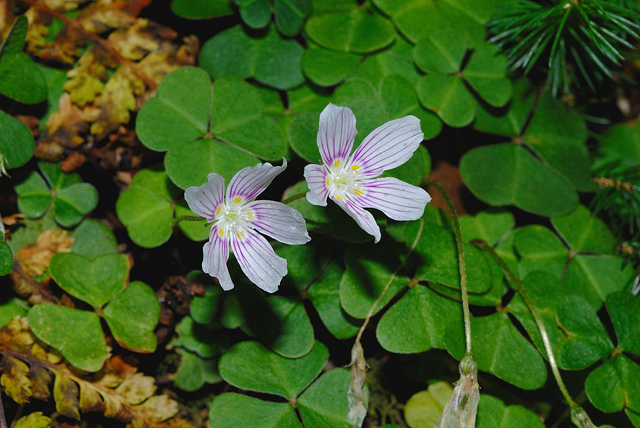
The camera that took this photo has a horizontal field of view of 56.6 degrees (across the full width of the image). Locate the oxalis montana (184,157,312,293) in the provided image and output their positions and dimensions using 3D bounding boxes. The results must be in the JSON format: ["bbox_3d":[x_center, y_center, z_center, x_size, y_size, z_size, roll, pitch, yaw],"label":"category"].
[{"bbox_3d":[-0.225,0.018,1.819,0.347,0.434,0.161,4,8,-18],"label":"oxalis montana"}]
